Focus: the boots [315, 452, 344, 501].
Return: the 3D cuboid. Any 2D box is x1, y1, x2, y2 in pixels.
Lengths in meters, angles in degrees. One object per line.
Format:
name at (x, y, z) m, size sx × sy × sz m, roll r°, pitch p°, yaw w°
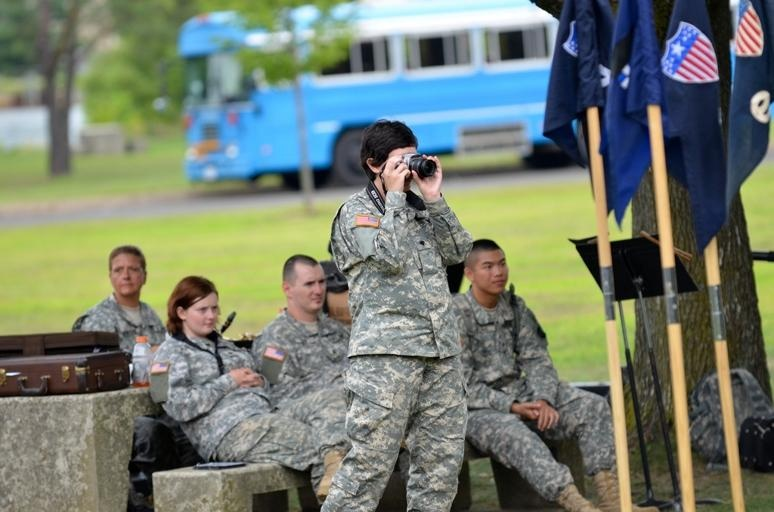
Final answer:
boots at (-0.821, 2.859, 27.768) m, size 0.235 × 0.654 × 0.358 m, roll 30°, pitch -16°, yaw -23°
